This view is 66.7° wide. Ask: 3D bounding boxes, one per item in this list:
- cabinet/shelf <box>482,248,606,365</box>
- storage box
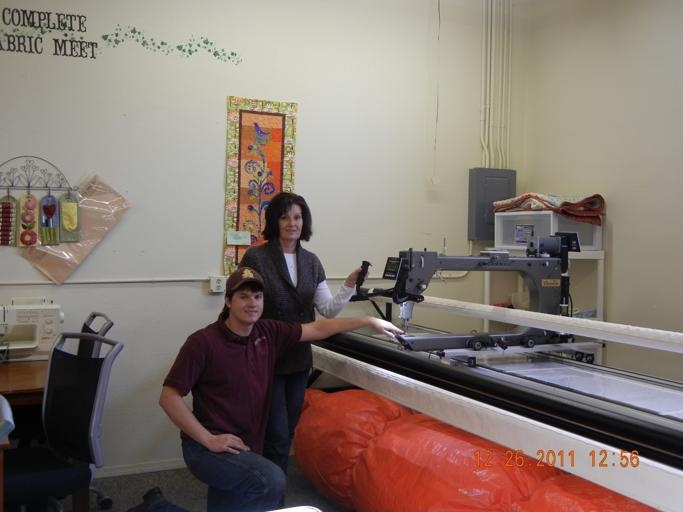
[{"bbox_3d":[1.631,0.327,4.213,1.058,0.832,0.651,8,11,40],"label":"cabinet/shelf"},{"bbox_3d":[1.577,-0.187,4.053,0.853,0.338,0.499,6,9,27],"label":"storage box"}]
